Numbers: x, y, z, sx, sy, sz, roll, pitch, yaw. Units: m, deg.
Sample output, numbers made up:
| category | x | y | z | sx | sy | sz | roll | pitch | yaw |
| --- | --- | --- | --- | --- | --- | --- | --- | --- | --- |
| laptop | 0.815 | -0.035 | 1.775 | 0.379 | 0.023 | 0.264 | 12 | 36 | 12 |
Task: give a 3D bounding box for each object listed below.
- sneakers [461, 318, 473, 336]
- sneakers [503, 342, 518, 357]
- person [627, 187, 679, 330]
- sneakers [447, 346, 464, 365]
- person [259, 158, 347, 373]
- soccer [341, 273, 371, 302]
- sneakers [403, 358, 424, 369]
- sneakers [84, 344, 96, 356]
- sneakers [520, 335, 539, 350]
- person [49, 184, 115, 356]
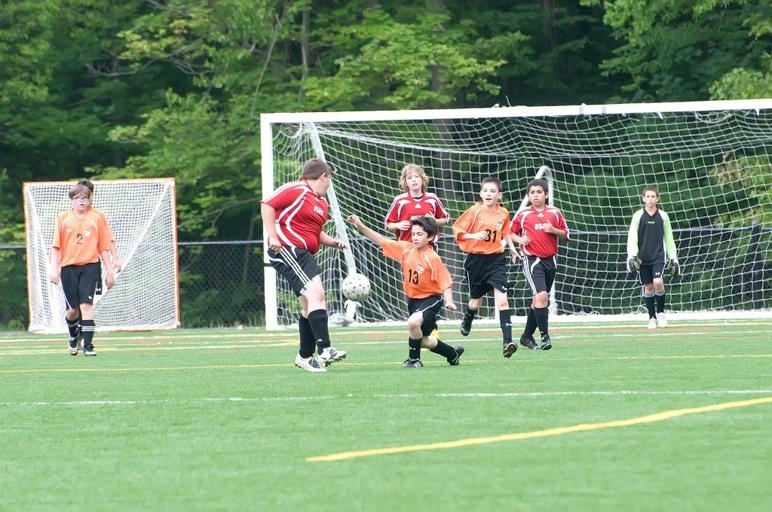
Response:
| category | x | y | z | sx | sy | sz | roll | pitch | yaw |
| --- | --- | --- | --- | --- | --- | --- | --- | --- | --- |
| sneakers | 1.291 | 1.137 | 18.782 | 0.141 | 0.342 | 0.145 | 3 | -6 | -6 |
| sneakers | 1.745 | 1.328 | 16.727 | 0.164 | 0.170 | 0.267 | -2 | 1 | -2 |
| person | 4.540 | 0.039 | 20.258 | 0.815 | 1.770 | 1.018 | -2 | 1 | 11 |
| sneakers | 0.967 | 1.352 | 16.235 | 0.129 | 0.134 | 0.356 | 2 | 29 | 18 |
| person | -1.072 | 0.134 | 15.766 | 1.015 | 2.415 | 0.527 | -3 | 1 | -3 |
| soccer | -0.489 | 0.513 | 19.526 | 0.502 | 0.441 | 0.479 | -2 | 3 | -28 |
| sneakers | 0.370 | 1.463 | 16.066 | 0.109 | 0.116 | 0.279 | 1 | 2 | 15 |
| sneakers | -4.496 | 1.467 | 18.147 | 0.106 | 0.104 | 0.284 | 2 | -6 | -29 |
| sneakers | 2.155 | 1.316 | 17.903 | 0.353 | 0.137 | 0.127 | 26 | -2 | 35 |
| person | -4.584 | 0.229 | 18.014 | 0.909 | 2.435 | 0.539 | -3 | 1 | -14 |
